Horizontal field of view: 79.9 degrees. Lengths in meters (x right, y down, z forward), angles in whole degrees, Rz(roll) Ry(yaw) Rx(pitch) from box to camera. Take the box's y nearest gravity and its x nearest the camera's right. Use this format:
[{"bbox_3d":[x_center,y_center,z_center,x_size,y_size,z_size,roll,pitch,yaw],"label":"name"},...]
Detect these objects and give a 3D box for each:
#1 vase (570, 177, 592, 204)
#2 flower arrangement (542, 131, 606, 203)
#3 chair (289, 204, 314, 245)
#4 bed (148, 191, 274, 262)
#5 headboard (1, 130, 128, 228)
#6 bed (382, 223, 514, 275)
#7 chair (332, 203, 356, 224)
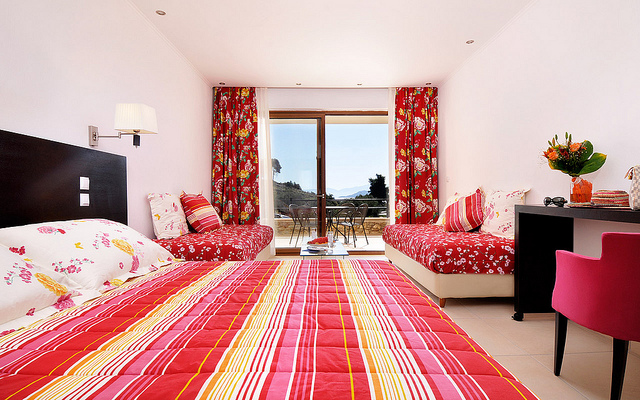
[{"bbox_3d":[2.315,-0.087,3.385,0.152,0.221,0.151,1,4,29],"label":"vase"},{"bbox_3d":[2.415,-0.249,3.764,0.530,0.691,0.686,1,-2,-8],"label":"flower arrangement"},{"bbox_3d":[-0.295,0.292,6.616,0.350,0.493,0.414,-1,-2,16],"label":"chair"},{"bbox_3d":[-1.399,0.180,4.553,0.852,0.496,1.197,1,1,1],"label":"bed"},{"bbox_3d":[-2.237,-0.181,3.283,0.021,0.539,0.979,-3,-5,19],"label":"headboard"},{"bbox_3d":[1.514,0.567,4.748,0.995,0.339,1.773,4,3,-8],"label":"bed"},{"bbox_3d":[0.449,0.257,7.474,0.383,0.494,0.425,3,-2,-8],"label":"chair"}]
